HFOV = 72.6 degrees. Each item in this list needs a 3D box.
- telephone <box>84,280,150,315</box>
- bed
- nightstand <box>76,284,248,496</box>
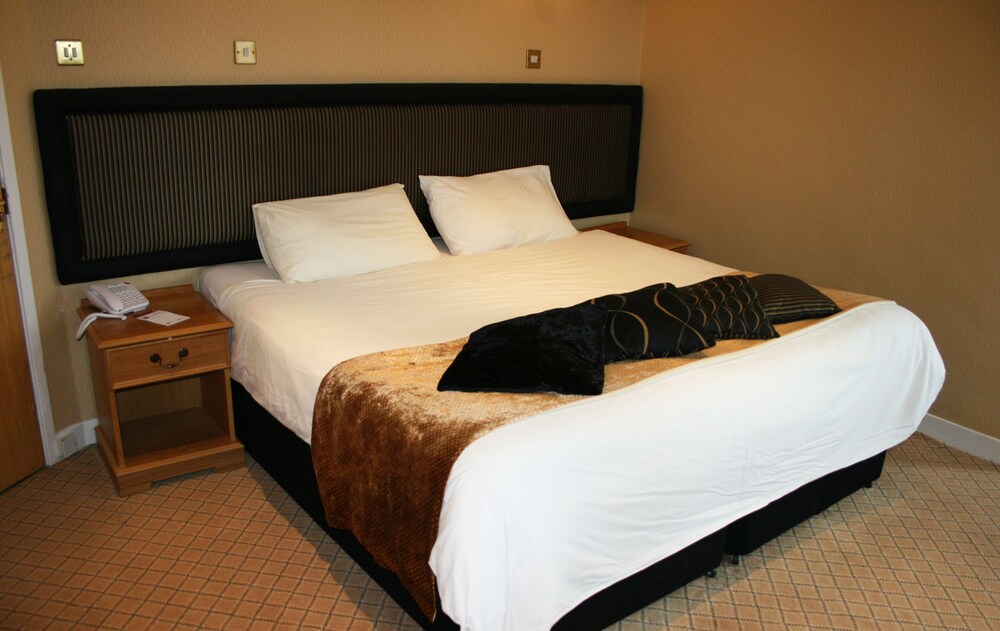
[{"bbox_3d":[-2.144,-0.108,3.786,0.279,0.154,0.218,16,29,37],"label":"telephone"},{"bbox_3d":[-0.175,0.231,3.583,2.651,1.358,1.766,-12,20,-35],"label":"bed"},{"bbox_3d":[-1.914,0.415,3.811,0.882,1.087,0.817,-11,21,-33],"label":"nightstand"}]
